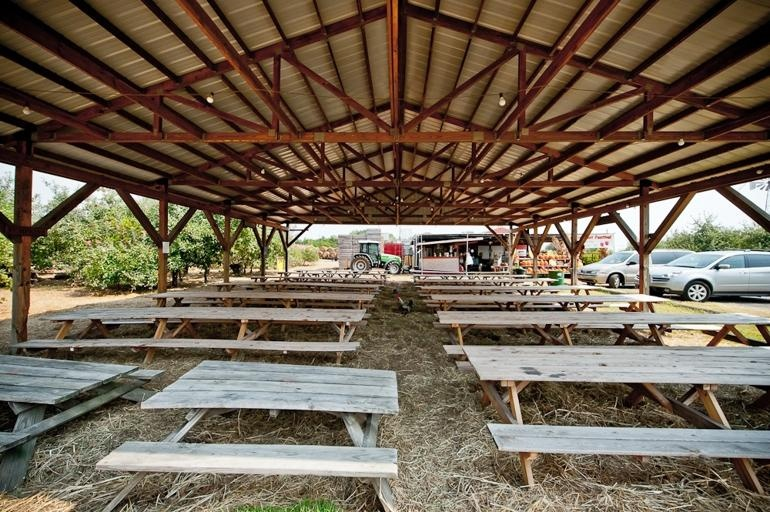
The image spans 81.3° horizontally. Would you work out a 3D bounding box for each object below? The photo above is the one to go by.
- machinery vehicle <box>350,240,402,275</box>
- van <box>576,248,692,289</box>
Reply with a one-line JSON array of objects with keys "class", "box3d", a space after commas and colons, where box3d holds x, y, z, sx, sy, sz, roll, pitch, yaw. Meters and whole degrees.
[{"class": "machinery vehicle", "box3d": [-0.514, 0.105, 22.955, 3.122, 1.218, 1.551, -1, 3, -4]}, {"class": "van", "box3d": [7.700, 0.378, 14.667, 4.191, 0.953, 1.612, 0, -1, 13]}]
